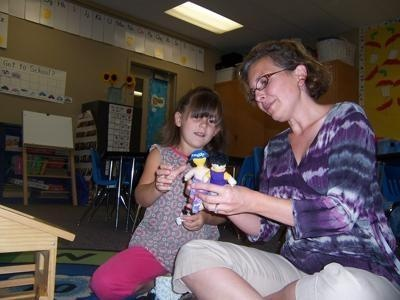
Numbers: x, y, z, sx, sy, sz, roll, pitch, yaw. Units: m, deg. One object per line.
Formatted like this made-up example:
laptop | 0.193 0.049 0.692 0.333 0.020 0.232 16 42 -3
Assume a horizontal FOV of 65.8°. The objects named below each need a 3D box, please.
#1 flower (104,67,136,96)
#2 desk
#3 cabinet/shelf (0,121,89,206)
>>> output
flower | -1.503 -1.216 5.751 0.447 0.536 0.466 11 -10 -27
desk | -0.992 0.444 3.734 0.645 0.785 0.653 1 -2 34
cabinet/shelf | -2.567 0.244 5.012 1.199 1.199 0.421 7 -16 -39
